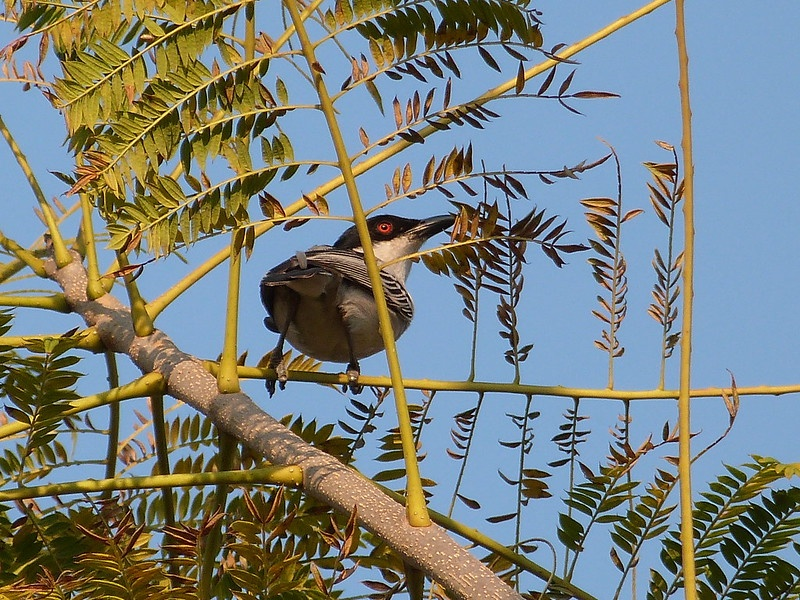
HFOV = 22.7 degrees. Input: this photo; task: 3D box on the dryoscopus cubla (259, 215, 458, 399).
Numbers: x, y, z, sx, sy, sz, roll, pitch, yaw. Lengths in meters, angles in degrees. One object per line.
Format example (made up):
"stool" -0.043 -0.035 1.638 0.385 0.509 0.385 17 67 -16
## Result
"dryoscopus cubla" -0.168 -0.042 8.381 0.682 1.040 0.832 -5 -83 -24
